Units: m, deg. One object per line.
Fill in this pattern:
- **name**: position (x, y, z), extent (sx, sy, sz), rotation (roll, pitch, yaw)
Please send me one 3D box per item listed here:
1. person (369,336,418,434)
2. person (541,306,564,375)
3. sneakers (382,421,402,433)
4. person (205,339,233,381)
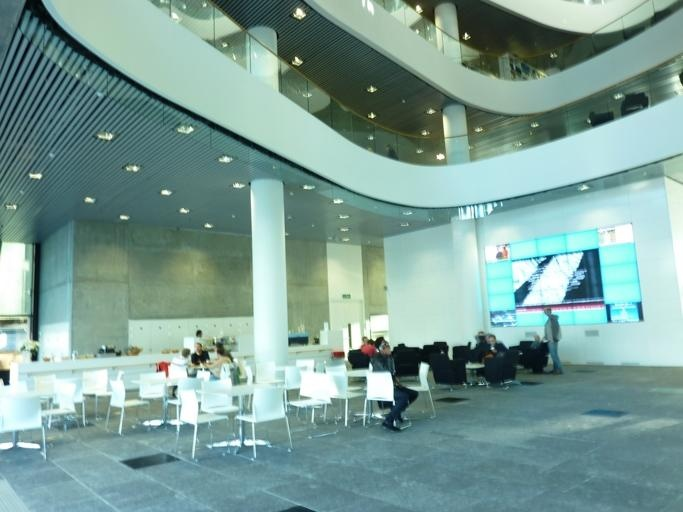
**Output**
- **person**: position (0.947, 2.256, 10.869), extent (0.786, 1.627, 1.241), rotation (-3, -10, 4)
- **person**: position (5.701, 2.296, 16.176), extent (0.630, 1.894, 1.054), rotation (-1, -24, 13)
- **sneakers**: position (0.854, 2.948, 10.374), extent (0.338, 0.162, 0.115), rotation (-2, -9, 30)
- **person**: position (-2.412, 2.076, 11.931), extent (0.587, 0.833, 0.877), rotation (1, -3, -19)
